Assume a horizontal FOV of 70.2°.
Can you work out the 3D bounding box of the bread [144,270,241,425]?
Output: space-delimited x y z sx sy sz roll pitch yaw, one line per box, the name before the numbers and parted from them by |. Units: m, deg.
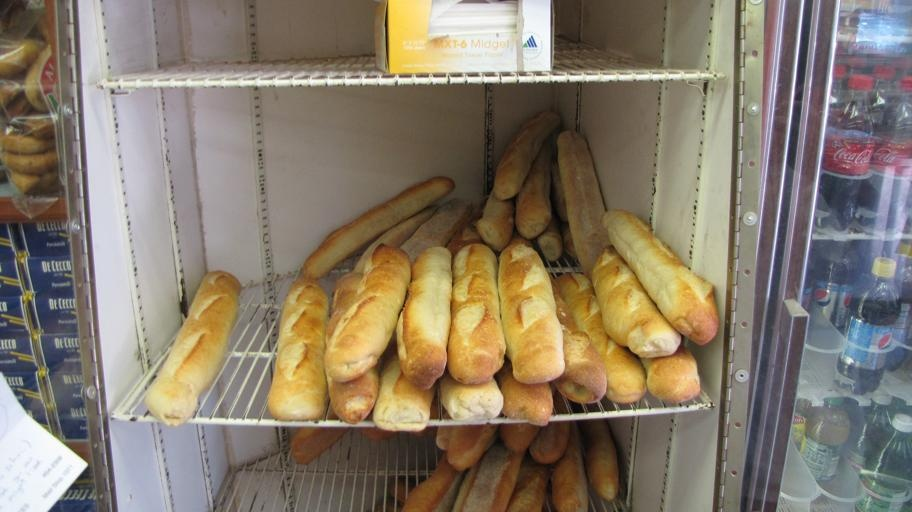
bread | -0.936 0.324 2.397 0.163 0.142 0.619 23 39 -14
